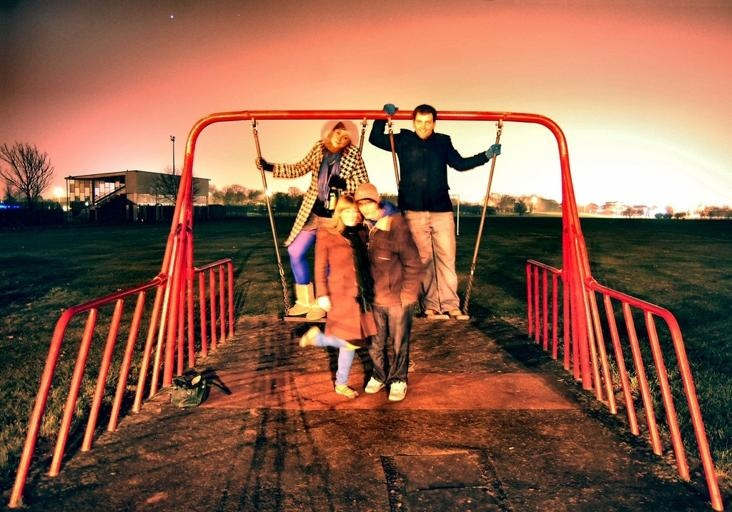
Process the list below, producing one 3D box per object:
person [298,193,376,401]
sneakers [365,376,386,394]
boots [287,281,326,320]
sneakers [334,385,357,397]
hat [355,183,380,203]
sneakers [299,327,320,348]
[{"bbox_3d":[-0.273,0.148,4.625,0.666,1.498,0.573,-2,12,-7],"label":"person"},{"bbox_3d":[0.094,1.372,4.810,0.110,0.122,0.287,4,-8,14],"label":"sneakers"},{"bbox_3d":[-0.814,0.619,6.033,0.787,0.463,0.326,1,0,13],"label":"boots"},{"bbox_3d":[-0.202,1.382,4.709,0.205,0.068,0.115,3,4,35],"label":"sneakers"},{"bbox_3d":[0.013,-0.618,4.488,0.256,0.185,0.245,0,11,1],"label":"hat"},{"bbox_3d":[-0.583,0.803,4.517,0.165,0.177,0.245,9,15,40],"label":"sneakers"}]
